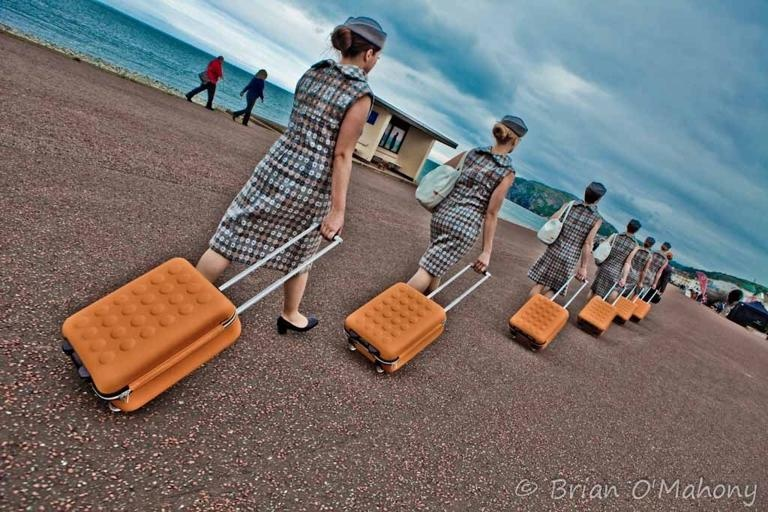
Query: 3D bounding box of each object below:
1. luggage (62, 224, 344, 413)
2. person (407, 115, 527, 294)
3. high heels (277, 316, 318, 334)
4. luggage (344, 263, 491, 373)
[{"bbox_3d":[-1.545,0.533,4.469,2.313,0.546,0.924,-32,56,-25],"label":"luggage"},{"bbox_3d":[1.061,-0.554,5.963,1.018,1.940,0.805,30,16,0],"label":"person"},{"bbox_3d":[-0.975,0.764,5.252,0.495,0.183,0.169,-6,24,-16],"label":"high heels"},{"bbox_3d":[0.563,0.605,5.662,2.037,0.428,0.818,-28,48,-28],"label":"luggage"}]
